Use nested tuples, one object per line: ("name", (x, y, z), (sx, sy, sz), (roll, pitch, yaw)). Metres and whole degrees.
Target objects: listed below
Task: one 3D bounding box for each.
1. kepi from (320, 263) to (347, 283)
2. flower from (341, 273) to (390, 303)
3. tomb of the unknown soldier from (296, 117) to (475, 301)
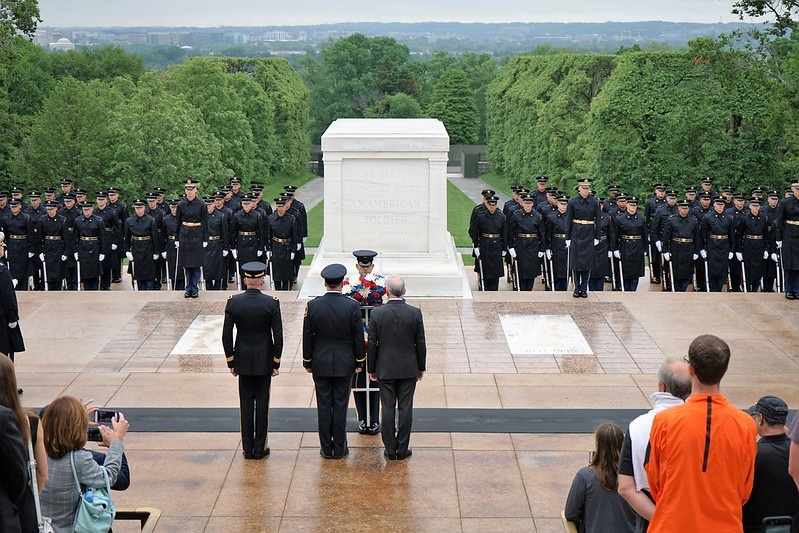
("kepi", (-0.989, 0.102, 15.634), (0.335, 0.261, 0.275), (-3, 11, -8))
("flower", (-0.515, 0.348, 16.221), (0.587, 0.283, 0.539), (1, 3, -30))
("tomb of the unknown soldier", (-0.219, -1.341, 23.005), (4.546, 3.049, 3.638), (-1, 12, -1))
